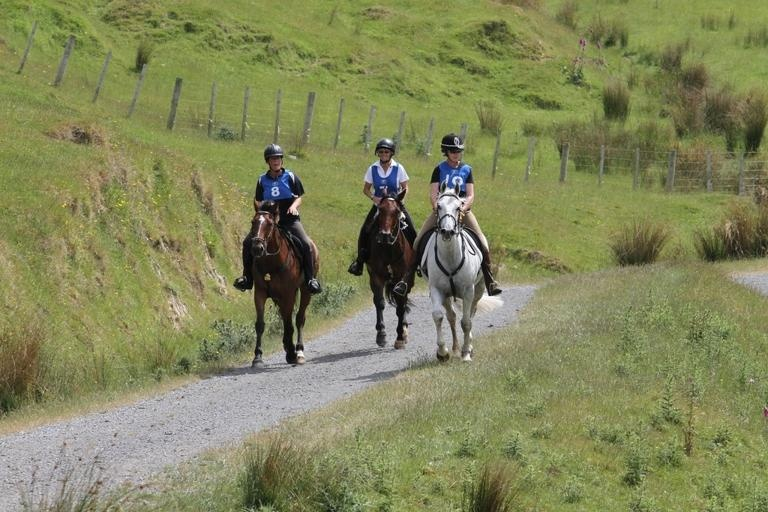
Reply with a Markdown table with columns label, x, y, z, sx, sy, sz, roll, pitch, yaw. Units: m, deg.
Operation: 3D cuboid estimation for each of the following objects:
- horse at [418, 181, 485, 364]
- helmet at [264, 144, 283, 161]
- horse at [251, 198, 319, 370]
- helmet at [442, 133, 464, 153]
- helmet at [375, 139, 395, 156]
| label | x | y | z | sx | sy | sz | roll | pitch | yaw |
| --- | --- | --- | --- | --- | --- | --- | --- | --- | --- |
| horse | 1.922 | 0.485 | 29.820 | 1.512 | 4.937 | 2.280 | 4 | 8 | 21 |
| helmet | -3.181 | -3.018 | 30.685 | 0.402 | 0.576 | 0.595 | 0 | 6 | -8 |
| horse | -3.024 | 0.781 | 30.504 | 1.091 | 4.693 | 2.278 | 8 | 10 | 44 |
| helmet | 1.957 | -3.199 | 30.140 | 0.570 | 0.543 | 0.517 | 3 | 8 | 10 |
| helmet | 0.055 | -3.287 | 31.415 | 0.400 | 0.522 | 0.634 | 3 | 13 | 10 |
